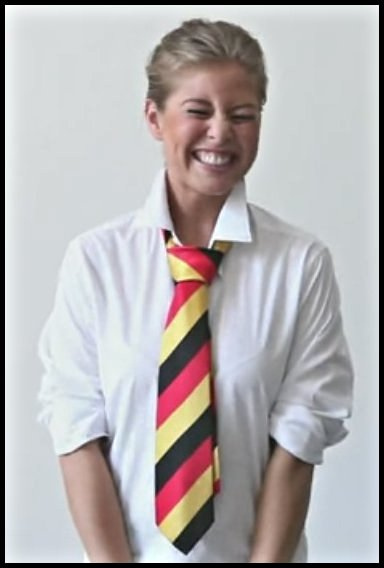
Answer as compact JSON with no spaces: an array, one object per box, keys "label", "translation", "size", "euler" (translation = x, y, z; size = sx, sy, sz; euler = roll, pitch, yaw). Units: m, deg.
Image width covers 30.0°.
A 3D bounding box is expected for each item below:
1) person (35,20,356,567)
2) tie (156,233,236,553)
[{"label":"person","translation":[0.025,0.034,1.491],"size":[0.653,1.125,0.350],"euler":[-2,6,-18]},{"label":"tie","translation":[0.011,0.202,1.443],"size":[0.155,0.597,0.247],"euler":[0,5,3]}]
